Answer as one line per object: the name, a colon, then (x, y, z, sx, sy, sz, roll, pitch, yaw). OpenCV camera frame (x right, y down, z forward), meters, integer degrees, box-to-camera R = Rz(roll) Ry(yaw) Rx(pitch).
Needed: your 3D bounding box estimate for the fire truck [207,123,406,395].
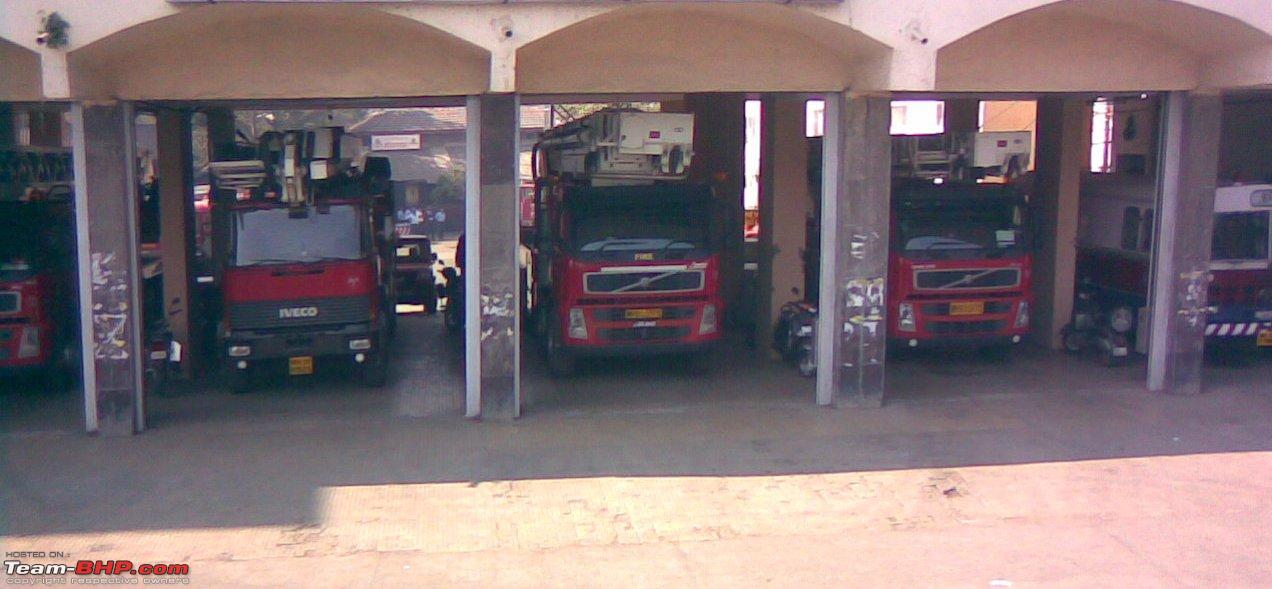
fire truck: (-7.644, -0.985, 23.532, 4.549, 4.461, 12.831, -1, 3, -15)

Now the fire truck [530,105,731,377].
fire truck: (-0.215, -1.152, 22.910, 4.339, 5.919, 2.333, -2, 12, 8)

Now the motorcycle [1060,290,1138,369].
motorcycle: (10.828, 0.786, 24.113, 1.629, 1.398, 1.721, 1, 3, -5)

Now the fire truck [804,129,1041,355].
fire truck: (7.361, -1.276, 23.440, 3.200, 4.753, 1.642, -2, 12, 9)

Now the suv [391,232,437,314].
suv: (-6.616, -0.728, 29.309, 1.544, 1.249, 2.278, 0, 11, -4)
